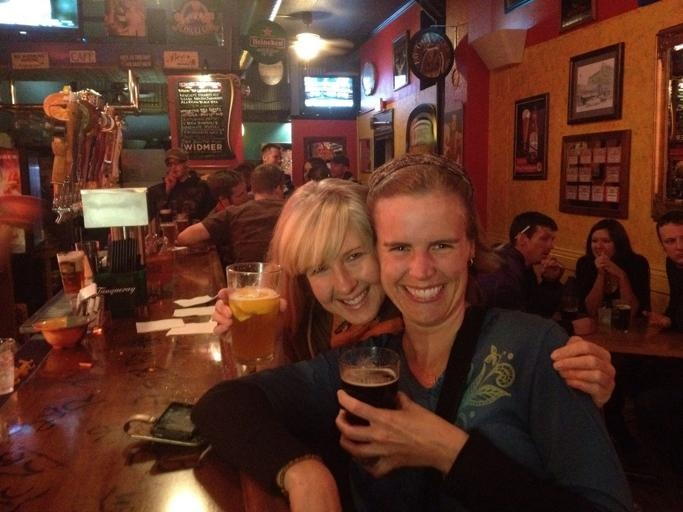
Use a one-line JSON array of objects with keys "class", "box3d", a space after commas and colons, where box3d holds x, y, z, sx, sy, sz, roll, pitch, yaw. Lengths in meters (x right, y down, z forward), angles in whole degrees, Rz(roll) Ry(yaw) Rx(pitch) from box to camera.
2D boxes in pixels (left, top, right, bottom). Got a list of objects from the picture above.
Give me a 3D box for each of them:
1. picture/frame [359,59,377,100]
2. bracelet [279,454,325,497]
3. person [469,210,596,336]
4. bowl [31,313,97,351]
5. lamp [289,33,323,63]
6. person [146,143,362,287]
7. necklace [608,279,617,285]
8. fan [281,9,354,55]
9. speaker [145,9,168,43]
[{"class": "picture/frame", "box3d": [0.523, -3.445, 10.272, 0.122, 0.887, 0.881, -3, 26, -18]}, {"class": "bracelet", "box3d": [-0.157, 0.682, 1.634, 0.107, 0.027, 0.105, -21, 55, -3]}, {"class": "person", "box3d": [1.531, 0.365, 4.377, 1.019, 1.369, 0.632, 4, 5, 19]}, {"class": "bowl", "box3d": [-1.298, 0.348, 2.438, 0.184, 0.088, 0.161, 0, 0, 4]}, {"class": "lamp", "box3d": [-0.530, -3.295, 8.109, 0.426, 0.405, 0.616, -3, 9, -3]}, {"class": "person", "box3d": [-0.824, -0.192, 5.465, 1.480, 1.891, 1.028, 3, 52, -6]}, {"class": "necklace", "box3d": [2.185, 0.205, 4.222, 0.042, 0.031, 0.043, 1, 12, 16]}, {"class": "fan", "box3d": [-0.470, -3.822, 9.085, 1.249, 0.557, 1.249, -1, 1, -2]}, {"class": "speaker", "box3d": [-2.175, -2.683, 6.166, 0.243, 0.375, 0.191, -6, 10, -19]}]
